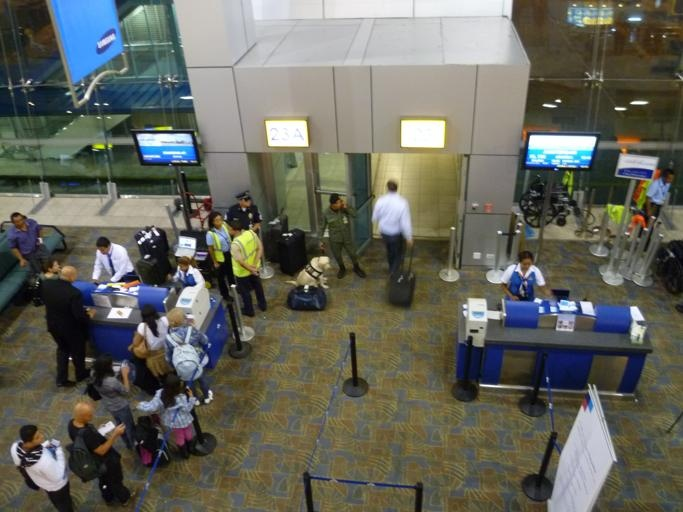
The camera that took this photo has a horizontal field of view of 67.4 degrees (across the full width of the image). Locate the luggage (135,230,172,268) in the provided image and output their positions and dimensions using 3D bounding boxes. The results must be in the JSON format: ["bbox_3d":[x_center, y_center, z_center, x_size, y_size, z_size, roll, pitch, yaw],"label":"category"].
[{"bbox_3d":[-3.716,-0.125,10.098,0.247,0.697,0.418,9,44,20],"label":"luggage"}]

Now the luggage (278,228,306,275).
[{"bbox_3d":[-0.991,-0.070,10.136,0.356,0.661,0.647,7,39,17],"label":"luggage"}]

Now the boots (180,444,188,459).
[{"bbox_3d":[-2.146,2.673,7.031,0.110,0.224,0.059,-18,25,-34],"label":"boots"}]

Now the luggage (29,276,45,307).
[{"bbox_3d":[-5.499,0.656,9.239,0.194,0.570,0.401,3,-3,-35],"label":"luggage"}]

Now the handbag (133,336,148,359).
[{"bbox_3d":[-2.859,1.297,7.303,0.272,0.281,0.134,10,19,29],"label":"handbag"}]

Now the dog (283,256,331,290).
[{"bbox_3d":[-0.539,0.345,9.569,1.018,0.661,0.402,-8,52,-4],"label":"dog"}]

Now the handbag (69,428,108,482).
[{"bbox_3d":[-3.032,2.368,6.054,0.372,0.675,0.290,-12,22,-22],"label":"handbag"}]

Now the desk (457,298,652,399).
[{"bbox_3d":[3.246,1.306,7.680,2.320,1.306,0.930,4,20,4],"label":"desk"}]

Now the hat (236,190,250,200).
[{"bbox_3d":[-1.859,-1.126,9.530,0.258,0.116,0.227,3,30,34],"label":"hat"}]

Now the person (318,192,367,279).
[{"bbox_3d":[0.005,-0.400,9.814,0.823,1.699,0.362,-3,21,-1],"label":"person"}]

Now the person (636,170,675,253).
[{"bbox_3d":[6.240,-0.977,10.218,0.427,1.484,2.166,10,24,30],"label":"person"}]

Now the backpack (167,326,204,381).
[{"bbox_3d":[-2.139,1.313,6.976,0.379,0.566,0.542,-19,61,-2],"label":"backpack"}]

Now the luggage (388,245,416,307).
[{"bbox_3d":[1.093,0.401,9.458,0.544,1.291,0.840,7,13,11],"label":"luggage"}]

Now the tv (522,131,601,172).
[{"bbox_3d":[3.763,-1.822,8.845,1.456,0.880,0.108,4,36,9],"label":"tv"}]

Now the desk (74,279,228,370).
[{"bbox_3d":[-3.338,1.186,8.102,2.682,1.384,1.116,-1,0,-2],"label":"desk"}]

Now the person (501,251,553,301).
[{"bbox_3d":[3.043,0.349,8.506,0.482,0.944,0.487,-12,53,8],"label":"person"}]

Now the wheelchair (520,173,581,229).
[{"bbox_3d":[4.685,-1.275,11.544,1.384,1.115,0.977,0,28,7],"label":"wheelchair"}]

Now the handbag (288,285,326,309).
[{"bbox_3d":[-0.626,0.763,9.269,0.548,0.198,0.419,3,59,3],"label":"handbag"}]

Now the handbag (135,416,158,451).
[{"bbox_3d":[-2.527,2.312,6.784,0.337,0.457,0.430,-1,1,-10],"label":"handbag"}]
